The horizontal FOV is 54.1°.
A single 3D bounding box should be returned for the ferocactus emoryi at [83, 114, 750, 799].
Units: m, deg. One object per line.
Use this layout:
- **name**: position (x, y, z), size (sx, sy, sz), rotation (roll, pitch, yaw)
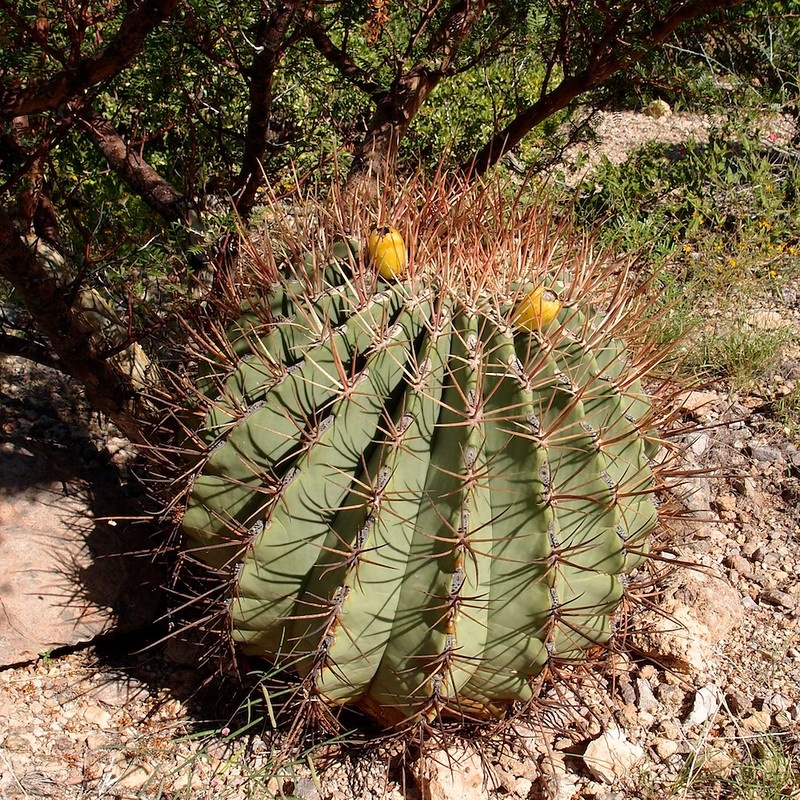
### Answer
- **ferocactus emoryi**: position (0.064, 0.088, 2.540), size (1.507, 1.359, 1.481), rotation (6, 2, 35)
